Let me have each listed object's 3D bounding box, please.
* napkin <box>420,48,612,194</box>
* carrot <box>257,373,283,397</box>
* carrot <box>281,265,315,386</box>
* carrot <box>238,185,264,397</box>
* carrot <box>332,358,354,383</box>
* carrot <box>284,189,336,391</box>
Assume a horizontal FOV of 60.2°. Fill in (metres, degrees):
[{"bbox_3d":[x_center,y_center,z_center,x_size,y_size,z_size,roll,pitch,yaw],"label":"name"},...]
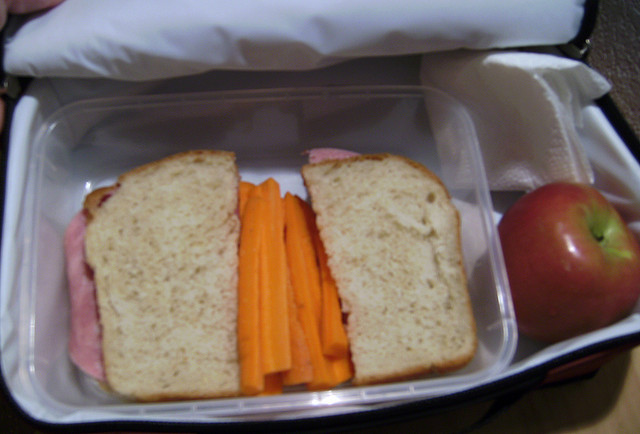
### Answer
[{"bbox_3d":[0.667,-0.340,1.976,0.657,0.269,0.424,8,76,5],"label":"napkin"},{"bbox_3d":[-0.161,0.533,1.760,0.073,0.019,0.068,2,76,-15],"label":"carrot"},{"bbox_3d":[-0.076,0.376,1.839,0.088,0.056,0.348,-7,73,-5],"label":"carrot"},{"bbox_3d":[-0.225,0.265,1.836,0.102,0.086,0.594,6,76,-29],"label":"carrot"},{"bbox_3d":[0.078,0.497,1.802,0.067,0.045,0.070,-7,75,1],"label":"carrot"},{"bbox_3d":[-0.047,0.253,1.873,0.114,0.094,0.681,-13,82,4],"label":"carrot"}]
